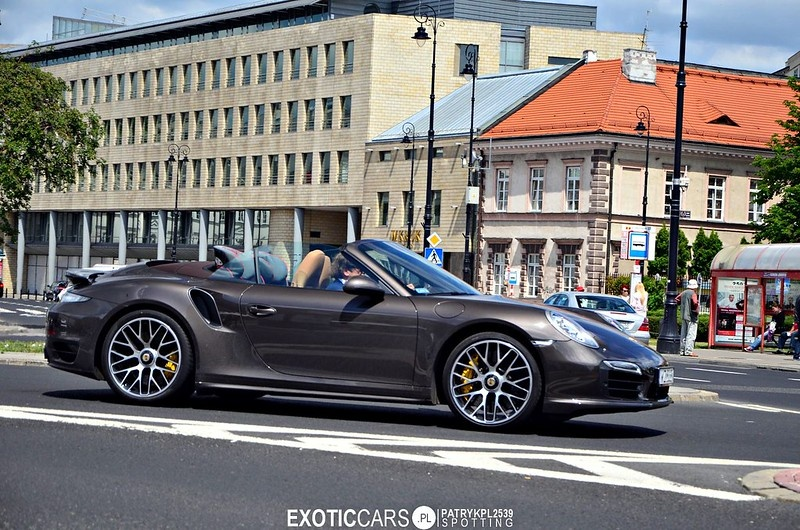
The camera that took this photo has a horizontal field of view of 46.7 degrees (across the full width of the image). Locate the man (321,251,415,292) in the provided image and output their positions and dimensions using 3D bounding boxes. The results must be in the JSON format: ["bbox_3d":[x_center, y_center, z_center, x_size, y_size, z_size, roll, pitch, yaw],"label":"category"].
[{"bbox_3d":[-0.396,0.059,10.192,0.729,0.234,0.472,7,0,4],"label":"man"}]

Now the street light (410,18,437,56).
[{"bbox_3d":[1.248,-11.655,47.165,1.130,2.319,0.534,3,-21,-11],"label":"street light"}]

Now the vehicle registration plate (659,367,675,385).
[{"bbox_3d":[2.846,1.200,9.978,0.172,0.252,0.078,2,18,-10],"label":"vehicle registration plate"}]

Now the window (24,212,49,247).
[{"bbox_3d":[-34.751,-3.429,89.076,2.816,3.508,0.189,5,7,37],"label":"window"}]

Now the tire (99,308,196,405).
[{"bbox_3d":[-2.865,1.023,10.470,0.978,1.091,0.404,2,1,-17],"label":"tire"}]

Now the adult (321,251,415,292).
[{"bbox_3d":[-0.414,0.051,10.211,0.729,0.234,0.472,7,0,4],"label":"adult"}]

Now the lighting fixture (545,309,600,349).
[{"bbox_3d":[1.776,0.674,9.626,0.441,0.110,0.347,30,32,6],"label":"lighting fixture"}]

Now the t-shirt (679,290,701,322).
[{"bbox_3d":[8.908,1.263,28.700,0.489,0.918,0.551,2,3,11],"label":"t-shirt"}]

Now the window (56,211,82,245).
[{"bbox_3d":[-30.272,-3.347,85.385,2.783,3.076,0.203,-4,-3,37],"label":"window"}]

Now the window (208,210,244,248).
[{"bbox_3d":[-14.614,-2.925,73.627,2.406,2.881,2.976,3,3,24],"label":"window"}]

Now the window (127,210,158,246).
[{"bbox_3d":[-21.833,-3.341,79.408,2.362,2.576,2.011,3,17,32],"label":"window"}]

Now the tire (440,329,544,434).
[{"bbox_3d":[0.943,1.217,9.832,0.968,1.078,0.461,0,3,-4],"label":"tire"}]

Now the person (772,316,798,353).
[{"bbox_3d":[13.122,2.441,31.651,0.590,1.327,3.961,3,4,22],"label":"person"}]
